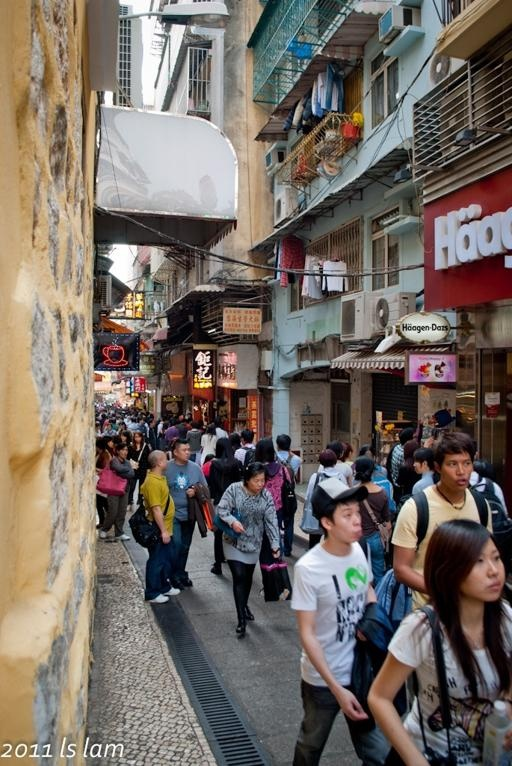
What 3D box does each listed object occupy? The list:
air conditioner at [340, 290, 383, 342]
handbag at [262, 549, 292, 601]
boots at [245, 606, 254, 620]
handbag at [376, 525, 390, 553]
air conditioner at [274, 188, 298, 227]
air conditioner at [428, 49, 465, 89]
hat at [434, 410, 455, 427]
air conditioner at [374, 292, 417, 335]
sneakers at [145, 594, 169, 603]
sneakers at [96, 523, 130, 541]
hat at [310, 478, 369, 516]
[{"bbox_3d":[1.772,-1.147,11.701,0.275,0.801,0.840,2,-1,-21],"label":"air conditioner"},{"bbox_3d":[0.176,1.509,5.512,0.155,0.444,0.122,-8,16,0],"label":"handbag"},{"bbox_3d":[-0.062,2.058,6.046,0.049,0.125,0.160,0,6,7],"label":"boots"},{"bbox_3d":[1.074,1.302,5.655,0.061,0.204,0.139,3,1,2],"label":"handbag"},{"bbox_3d":[0.720,-4.439,16.836,0.271,0.995,0.989,5,-3,-21],"label":"air conditioner"},{"bbox_3d":[2.662,-4.550,9.524,0.192,0.567,0.742,4,-3,-13],"label":"air conditioner"},{"bbox_3d":[2.607,0.474,9.289,0.211,0.271,0.257,3,3,-27],"label":"hat"},{"bbox_3d":[2.162,-1.122,10.653,0.321,0.569,1.013,5,-3,-17],"label":"air conditioner"},{"bbox_3d":[-0.947,2.055,6.486,0.171,0.086,0.080,-1,-7,0],"label":"sneakers"},{"bbox_3d":[-1.978,2.062,9.369,0.518,0.262,0.187,-1,-4,-8],"label":"sneakers"},{"bbox_3d":[0.377,0.528,3.070,0.247,0.177,0.232,4,-3,8],"label":"hat"}]
